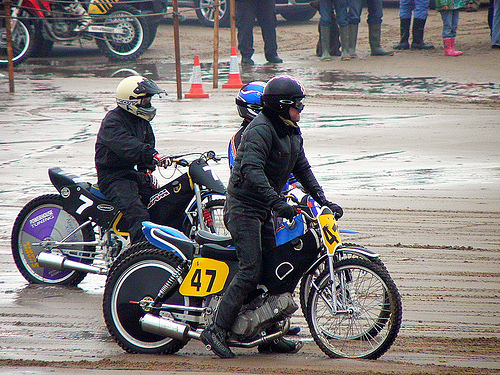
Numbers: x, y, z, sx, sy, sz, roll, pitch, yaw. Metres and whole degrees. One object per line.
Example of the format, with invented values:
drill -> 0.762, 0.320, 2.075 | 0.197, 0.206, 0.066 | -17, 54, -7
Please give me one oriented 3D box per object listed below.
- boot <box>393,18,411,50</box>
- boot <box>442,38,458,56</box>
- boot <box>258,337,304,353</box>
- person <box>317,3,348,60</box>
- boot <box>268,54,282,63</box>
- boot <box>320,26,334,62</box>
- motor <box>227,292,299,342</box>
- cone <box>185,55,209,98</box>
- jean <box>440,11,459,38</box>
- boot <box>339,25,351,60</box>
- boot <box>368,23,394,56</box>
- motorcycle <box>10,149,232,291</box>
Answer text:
boot -> 4.098, -4.094, 29.141 | 0.419, 0.891, 0.638 | -8, 18, -23
boot -> 5.067, -3.554, 27.855 | 0.506, 0.501, 0.287 | 5, 24, 26
boot -> 0.421, 2.076, 14.608 | 0.690, 0.279, 0.220 | 2, -1, 1
person -> 2.192, -4.141, 28.864 | 0.778, 1.524, 1.323 | 1, 16, 3
boot -> 0.669, -3.419, 28.975 | 0.372, 0.207, 0.419 | -1, 15, -2
boot -> 2.037, -3.799, 28.804 | 0.371, 0.919, 0.587 | 1, 16, 3
motor -> 0.125, 1.683, 14.307 | 0.879, 0.465, 0.210 | -32, -20, 10
cone -> -1.116, -2.400, 24.031 | 0.603, 0.884, 0.485 | 20, 29, 32
jean -> 5.064, -4.142, 27.771 | 0.412, 0.683, 0.365 | 1, 17, 5
boot -> 2.489, -3.774, 28.532 | 0.293, 0.904, 0.345 | 1, 17, 5
boot -> 3.443, -3.900, 28.809 | 0.640, 0.846, 0.530 | 4, 17, 13
motorcycle -> -1.676, 0.501, 15.476 | 4.176, 1.849, 1.678 | -2, -7, 25
